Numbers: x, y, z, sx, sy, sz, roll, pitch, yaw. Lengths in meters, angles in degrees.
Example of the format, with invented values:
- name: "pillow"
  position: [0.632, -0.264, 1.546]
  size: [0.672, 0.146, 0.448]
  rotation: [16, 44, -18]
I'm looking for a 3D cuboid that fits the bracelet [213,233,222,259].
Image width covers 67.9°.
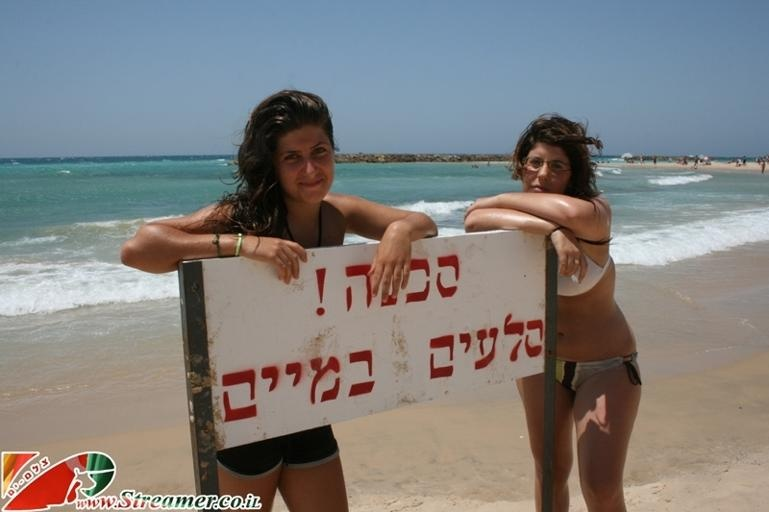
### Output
- name: "bracelet"
  position: [-1.002, -0.064, 3.400]
  size: [0.041, 0.121, 0.076]
  rotation: [-6, 11, -17]

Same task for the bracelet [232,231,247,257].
- name: "bracelet"
  position: [-0.859, -0.069, 3.359]
  size: [0.089, 0.105, 0.027]
  rotation: [2, -1, 23]
